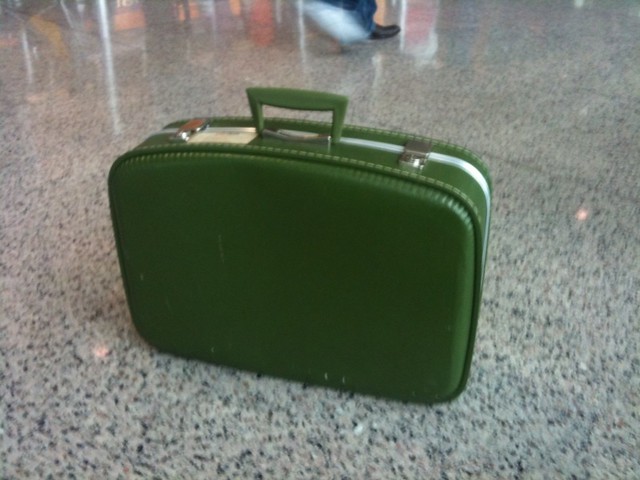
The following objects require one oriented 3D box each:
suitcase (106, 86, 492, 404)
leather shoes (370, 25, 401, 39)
[{"bbox_3d":[-0.045,0.039,1.003,0.752,0.590,0.242,7,31,12],"label":"suitcase"},{"bbox_3d":[0.292,-0.967,2.597,0.165,0.069,0.054,-8,46,-4],"label":"leather shoes"}]
